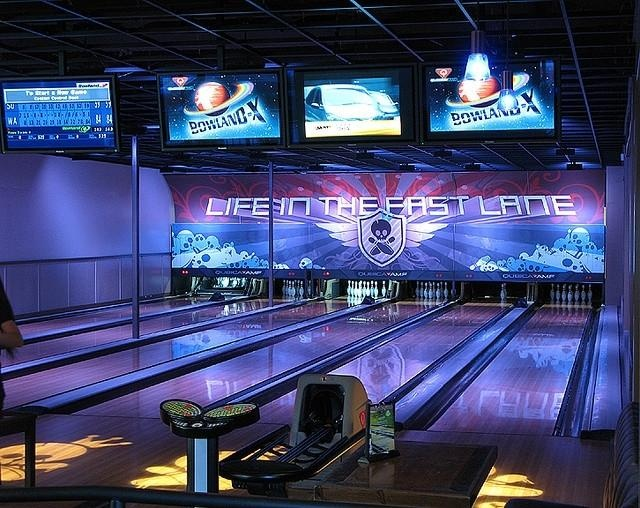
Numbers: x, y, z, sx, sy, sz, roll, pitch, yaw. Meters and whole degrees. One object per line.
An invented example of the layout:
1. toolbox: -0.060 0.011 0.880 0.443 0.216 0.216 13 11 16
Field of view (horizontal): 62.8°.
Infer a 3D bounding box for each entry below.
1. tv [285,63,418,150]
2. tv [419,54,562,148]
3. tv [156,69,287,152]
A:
1. tv: 0.253 -1.153 4.015 0.873 0.393 0.051 0 1 10
2. tv: 1.198 -1.079 3.684 0.930 0.444 0.109 0 4 14
3. tv: -0.804 -1.186 4.272 1.226 0.578 0.095 6 15 27
